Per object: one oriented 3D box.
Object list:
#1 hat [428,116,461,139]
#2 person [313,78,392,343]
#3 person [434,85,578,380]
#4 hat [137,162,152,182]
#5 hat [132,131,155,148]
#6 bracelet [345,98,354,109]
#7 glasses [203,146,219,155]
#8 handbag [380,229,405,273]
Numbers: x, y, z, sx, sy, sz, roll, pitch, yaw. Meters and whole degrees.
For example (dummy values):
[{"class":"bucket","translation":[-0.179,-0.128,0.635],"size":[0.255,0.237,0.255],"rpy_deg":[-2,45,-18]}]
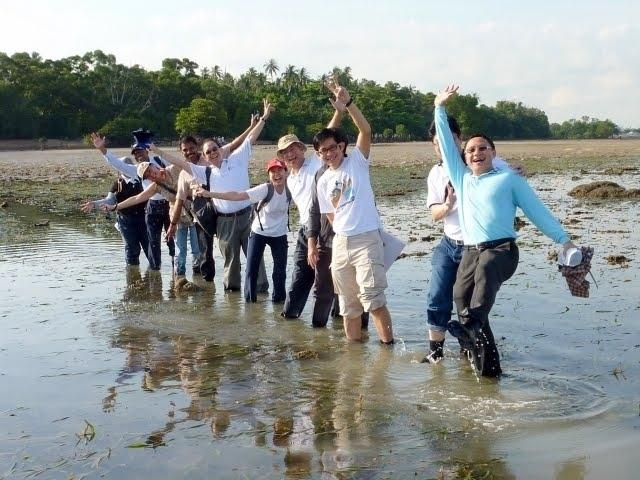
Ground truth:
[{"class":"hat","translation":[1.382,-1.260,7.238],"size":[0.253,0.286,0.135],"rpy_deg":[-5,-1,27]},{"class":"person","translation":[0.373,-0.117,7.712],"size":[0.787,2.746,0.620],"rpy_deg":[-1,8,13]},{"class":"person","translation":[1.737,-0.067,6.649],"size":[1.082,2.952,1.099],"rpy_deg":[-2,8,7]},{"class":"hat","translation":[-2.820,-1.128,10.835],"size":[0.157,0.209,0.295],"rpy_deg":[21,42,-13]},{"class":"hat","translation":[-2.947,-1.681,11.098],"size":[0.305,0.303,0.366],"rpy_deg":[11,20,28]},{"class":"bracelet","translation":[0.339,-1.554,7.567],"size":[0.104,0.029,0.103],"rpy_deg":[-41,16,48]},{"class":"glasses","translation":[-1.614,-1.334,9.938],"size":[0.235,0.092,0.153],"rpy_deg":[-4,8,-4]},{"class":"handbag","translation":[0.820,0.117,7.887],"size":[0.374,0.314,0.420],"rpy_deg":[0,2,2]}]
